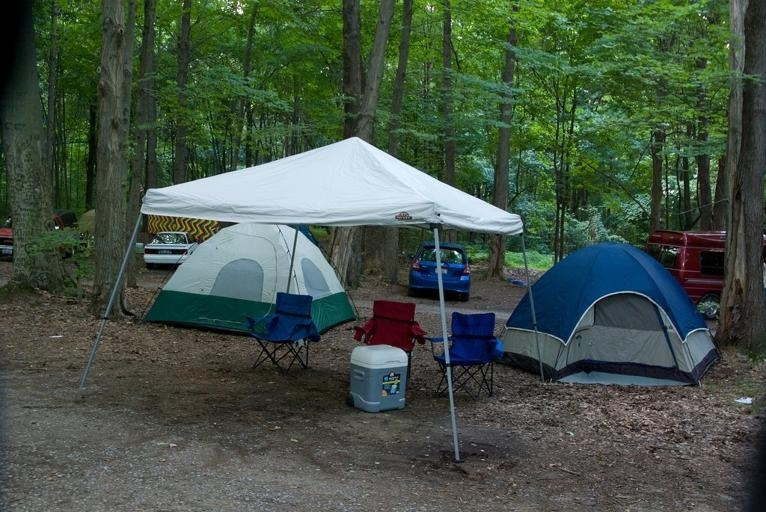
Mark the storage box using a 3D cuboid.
[{"bbox_3d":[-0.083,2.069,13.027,1.085,1.165,0.923,2,0,-38],"label":"storage box"}]

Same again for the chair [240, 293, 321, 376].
[{"bbox_3d":[-1.877,1.409,13.795,1.386,1.270,0.971,4,8,25],"label":"chair"}]

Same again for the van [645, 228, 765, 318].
[{"bbox_3d":[9.205,0.341,20.304,3.498,1.925,2.159,-4,7,-2],"label":"van"}]

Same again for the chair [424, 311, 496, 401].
[{"bbox_3d":[1.461,1.671,12.916,1.217,1.412,0.998,1,-2,28],"label":"chair"}]

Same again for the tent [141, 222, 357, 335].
[{"bbox_3d":[-2.963,0.452,15.980,2.880,1.507,2.848,3,5,24],"label":"tent"}]

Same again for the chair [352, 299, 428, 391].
[{"bbox_3d":[0.192,1.638,13.736,1.692,1.530,1.062,1,3,4],"label":"chair"}]

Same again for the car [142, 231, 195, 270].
[{"bbox_3d":[-7.080,-0.241,25.298,1.457,0.926,2.945,1,6,3],"label":"car"}]

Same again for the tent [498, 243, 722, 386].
[{"bbox_3d":[4.233,1.287,14.626,3.185,1.696,3.062,1,2,-6],"label":"tent"}]
